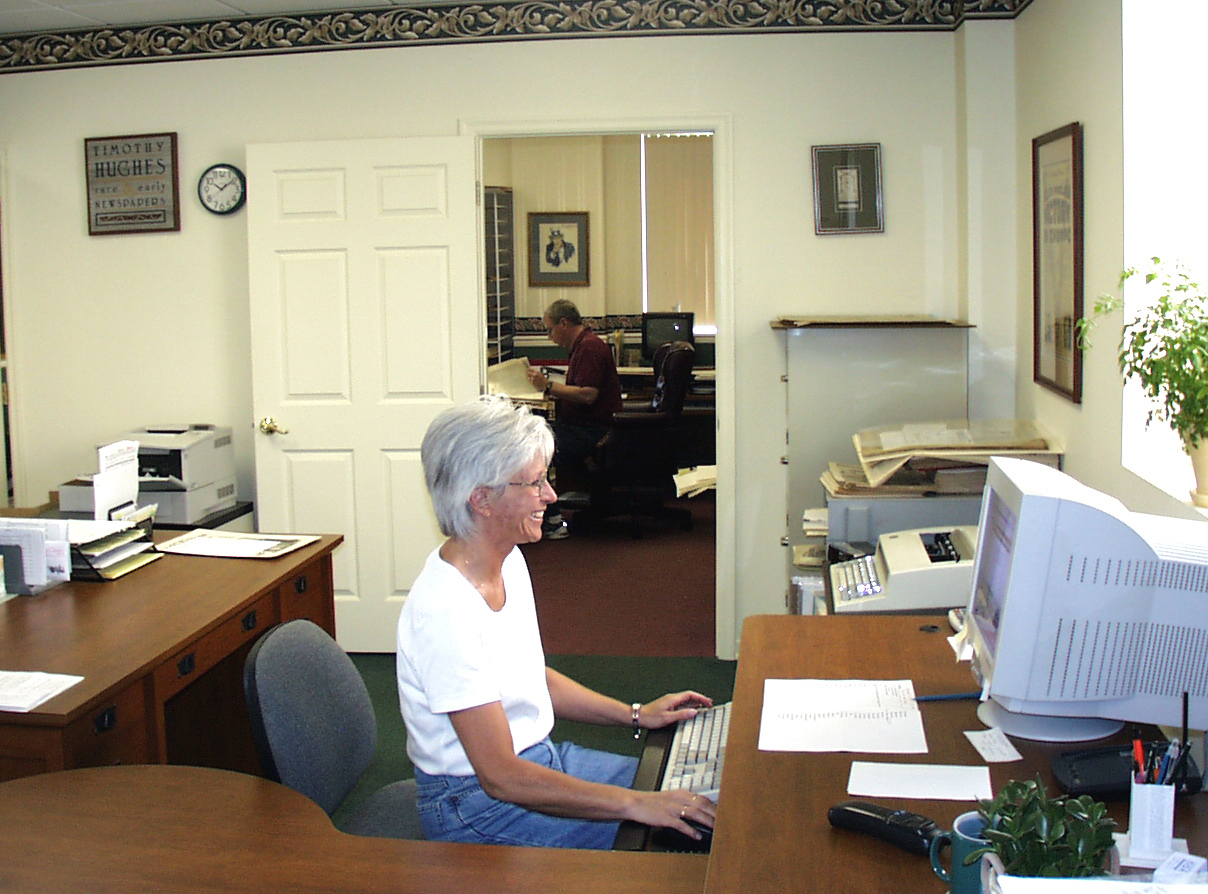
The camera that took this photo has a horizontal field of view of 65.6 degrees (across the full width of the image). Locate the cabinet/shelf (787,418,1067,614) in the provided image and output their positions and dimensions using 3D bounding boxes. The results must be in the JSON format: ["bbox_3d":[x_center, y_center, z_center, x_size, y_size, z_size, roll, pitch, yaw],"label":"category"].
[{"bbox_3d":[1.209,0.157,3.373,0.854,0.854,0.801,1,1,7],"label":"cabinet/shelf"}]

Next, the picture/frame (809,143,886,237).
[{"bbox_3d":[1.139,-1.230,4.399,0.408,0.498,0.037,0,3,0],"label":"picture/frame"}]

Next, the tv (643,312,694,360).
[{"bbox_3d":[0.538,-0.971,8.114,0.511,0.490,0.265,0,7,-1],"label":"tv"}]

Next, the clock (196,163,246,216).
[{"bbox_3d":[-1.935,-1.304,4.708,0.248,0.253,0.041,3,4,12],"label":"clock"}]

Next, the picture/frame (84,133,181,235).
[{"bbox_3d":[-2.401,-1.358,4.764,0.497,0.507,0.051,2,8,12],"label":"picture/frame"}]

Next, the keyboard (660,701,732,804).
[{"bbox_3d":[0.204,0.698,2.134,0.110,0.051,0.376,-15,10,14],"label":"keyboard"}]

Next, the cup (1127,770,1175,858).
[{"bbox_3d":[0.849,0.578,1.459,0.056,0.128,0.038,2,9,27],"label":"cup"}]

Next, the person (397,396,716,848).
[{"bbox_3d":[-0.115,0.579,2.185,0.722,1.265,0.690,1,5,2],"label":"person"}]

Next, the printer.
[{"bbox_3d":[-2.064,0.102,4.516,0.439,0.457,0.613,1,4,6],"label":"printer"}]

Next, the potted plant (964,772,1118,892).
[{"bbox_3d":[0.580,0.533,1.229,0.142,0.075,0.144,-2,29,8],"label":"potted plant"}]

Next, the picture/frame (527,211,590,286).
[{"bbox_3d":[-0.478,-1.919,8.864,0.682,0.831,0.033,0,6,1],"label":"picture/frame"}]

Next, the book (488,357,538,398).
[{"bbox_3d":[-0.757,-0.534,7.289,0.385,0.113,0.388,-4,33,-23],"label":"book"}]

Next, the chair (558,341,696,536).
[{"bbox_3d":[0.172,-0.105,7.505,1.272,1.609,1.375,0,5,-10],"label":"chair"}]
